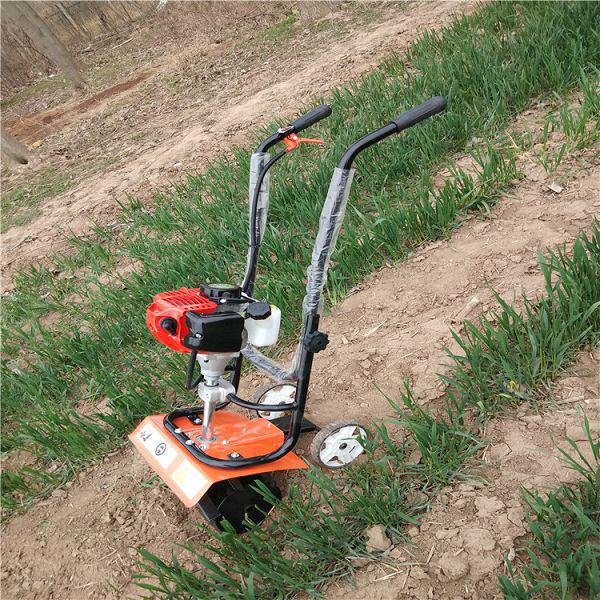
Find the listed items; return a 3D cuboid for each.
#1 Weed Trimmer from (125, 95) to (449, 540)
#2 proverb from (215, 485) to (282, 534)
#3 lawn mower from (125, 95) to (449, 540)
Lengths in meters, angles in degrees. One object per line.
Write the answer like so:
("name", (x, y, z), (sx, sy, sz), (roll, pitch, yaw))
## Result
("Weed Trimmer", (-0.070, 0.086, 2.593), (1.303, 1.478, 0.836), (-6, 9, -22))
("proverb", (-0.232, 0.868, 2.482), (0.290, 0.223, 0.083), (-8, 12, -26))
("lawn mower", (-0.115, 0.022, 2.600), (1.402, 1.580, 0.986), (-16, 21, -32))
